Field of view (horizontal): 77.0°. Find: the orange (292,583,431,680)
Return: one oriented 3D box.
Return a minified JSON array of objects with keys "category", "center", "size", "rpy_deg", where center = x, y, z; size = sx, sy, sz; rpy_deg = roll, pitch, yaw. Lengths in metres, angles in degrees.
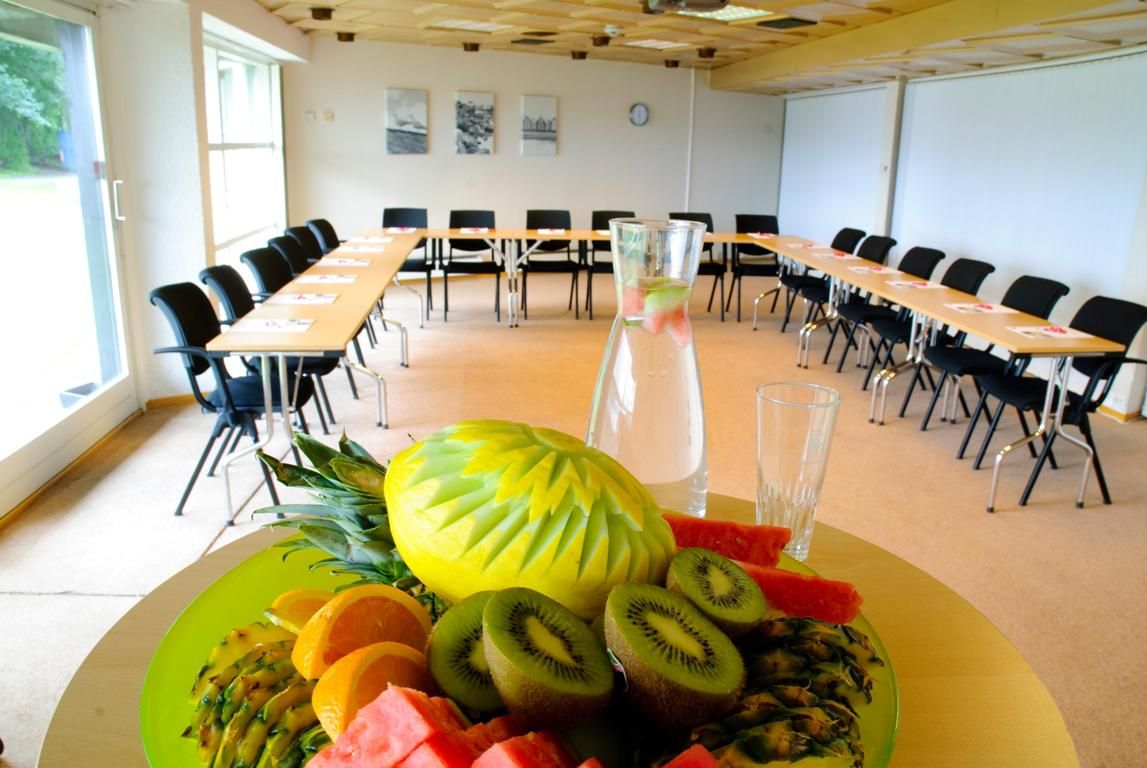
[{"category":"orange","center":[-0.224,0.221,0.747],"size":[0.149,0.080,0.095],"rpy_deg":[-8,15,-42]}]

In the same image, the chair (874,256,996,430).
[{"category":"chair","center":[2.477,-0.256,4.960],"size":[0.753,1.192,0.857],"rpy_deg":[3,15,10]}]

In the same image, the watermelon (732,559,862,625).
[{"category":"watermelon","center":[0.268,0.246,0.853],"size":[0.139,0.043,0.048],"rpy_deg":[6,21,26]}]

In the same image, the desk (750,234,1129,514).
[{"category":"desk","center":[2.427,-0.352,4.384],"size":[1.367,2.140,1.292],"rpy_deg":[0,15,-6]}]

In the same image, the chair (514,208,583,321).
[{"category":"chair","center":[-0.210,-1.466,8.446],"size":[0.914,1.447,0.855],"rpy_deg":[1,14,-8]}]

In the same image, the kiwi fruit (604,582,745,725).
[{"category":"kiwi fruit","center":[0.072,0.232,0.665],"size":[0.117,0.048,0.122],"rpy_deg":[7,35,-42]}]

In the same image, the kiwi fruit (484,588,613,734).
[{"category":"kiwi fruit","center":[-0.022,0.237,0.636],"size":[0.114,0.081,0.086],"rpy_deg":[3,19,0]}]

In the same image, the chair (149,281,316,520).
[{"category":"chair","center":[-1.635,0.062,3.693],"size":[0.831,1.073,0.809],"rpy_deg":[-2,17,-20]}]

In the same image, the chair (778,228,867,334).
[{"category":"chair","center":[2.526,-0.863,6.890],"size":[0.965,1.174,0.984],"rpy_deg":[3,14,11]}]

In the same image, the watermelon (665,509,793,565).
[{"category":"watermelon","center":[0.210,0.208,0.945],"size":[0.201,0.034,0.061],"rpy_deg":[14,51,-25]}]

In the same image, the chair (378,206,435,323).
[{"category":"chair","center":[-1.910,-1.362,8.129],"size":[0.743,1.084,0.743],"rpy_deg":[0,3,5]}]

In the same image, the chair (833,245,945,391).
[{"category":"chair","center":[2.534,-0.521,5.920],"size":[0.854,1.166,0.949],"rpy_deg":[2,14,5]}]

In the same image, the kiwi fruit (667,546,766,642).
[{"category":"kiwi fruit","center":[0.141,0.202,0.710],"size":[0.086,0.080,0.079],"rpy_deg":[-2,13,15]}]

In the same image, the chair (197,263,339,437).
[{"category":"chair","center":[-1.670,-0.150,3.958],"size":[0.807,1.168,0.763],"rpy_deg":[1,16,-7]}]

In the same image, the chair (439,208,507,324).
[{"category":"chair","center":[-1.031,-1.069,7.698],"size":[0.887,1.468,0.825],"rpy_deg":[0,14,-10]}]

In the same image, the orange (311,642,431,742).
[{"category":"orange","center":[-0.185,0.269,0.704],"size":[0.110,0.073,0.132],"rpy_deg":[-3,12,-20]}]

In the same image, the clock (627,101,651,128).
[{"category":"clock","center":[0.900,-3.654,9.810],"size":[0.321,0.320,0.074],"rpy_deg":[-8,22,-29]}]
